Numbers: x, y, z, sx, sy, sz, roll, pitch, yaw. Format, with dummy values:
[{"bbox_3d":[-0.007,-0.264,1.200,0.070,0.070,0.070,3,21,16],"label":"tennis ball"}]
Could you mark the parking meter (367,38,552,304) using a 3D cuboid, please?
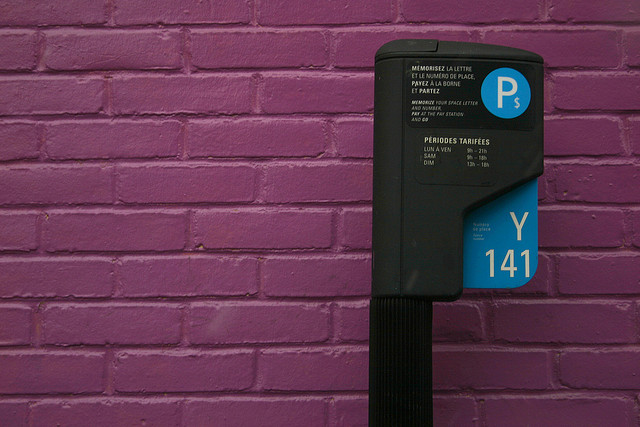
[{"bbox_3d":[0.339,-0.102,2.231,0.424,0.220,0.642,2,71,2],"label":"parking meter"}]
